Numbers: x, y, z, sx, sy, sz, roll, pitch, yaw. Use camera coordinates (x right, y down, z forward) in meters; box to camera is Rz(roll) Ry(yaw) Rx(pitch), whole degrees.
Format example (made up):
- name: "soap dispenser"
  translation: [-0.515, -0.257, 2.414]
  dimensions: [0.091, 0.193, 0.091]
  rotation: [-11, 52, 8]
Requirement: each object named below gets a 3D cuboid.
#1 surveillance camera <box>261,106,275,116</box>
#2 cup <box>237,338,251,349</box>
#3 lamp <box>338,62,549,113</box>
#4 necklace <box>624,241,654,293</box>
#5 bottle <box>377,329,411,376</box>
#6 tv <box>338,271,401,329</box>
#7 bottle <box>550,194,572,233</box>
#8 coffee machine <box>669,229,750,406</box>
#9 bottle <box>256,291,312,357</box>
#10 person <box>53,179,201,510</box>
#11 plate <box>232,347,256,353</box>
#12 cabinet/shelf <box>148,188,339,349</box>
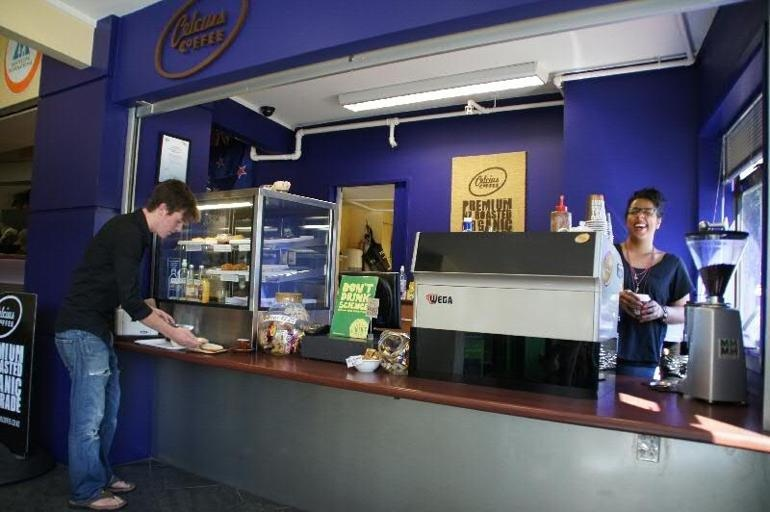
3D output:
- name: "surveillance camera"
  translation: [-1.472, -1.797, 6.846]
  dimensions: [0.112, 0.046, 0.112]
  rotation: [-8, -18, 12]
- name: "cup"
  translation: [-1.020, 0.626, 3.895]
  dimensions: [0.090, 0.060, 0.064]
  rotation: [4, -4, 5]
- name: "lamp"
  translation: [0.578, -1.758, 5.756]
  dimensions: [2.121, 0.173, 0.421]
  rotation: [0, -5, 28]
- name: "necklace"
  translation: [1.926, 0.109, 4.119]
  dimensions: [0.214, 0.299, 0.072]
  rotation: [7, -3, 16]
- name: "bottle"
  translation: [0.069, 0.596, 3.381]
  dimensions: [0.218, 0.256, 0.174]
  rotation: [1, -5, 13]
- name: "tv"
  translation: [-0.156, 0.328, 3.735]
  dimensions: [0.511, 0.432, 0.156]
  rotation: [4, -1, -38]
- name: "bottle"
  translation: [1.065, -0.214, 3.261]
  dimensions: [0.120, 0.275, 0.126]
  rotation: [2, 1, 0]
- name: "coffee machine"
  translation: [1.793, 0.314, 2.930]
  dimensions: [0.303, 0.936, 0.244]
  rotation: [0, -6, 28]
- name: "bottle"
  translation: [-0.663, 0.489, 3.944]
  dimensions: [0.389, 0.435, 0.402]
  rotation: [4, -12, -5]
- name: "person"
  translation: [-1.913, 0.624, 3.978]
  dimensions: [0.884, 2.383, 0.486]
  rotation: [1, -5, 17]
- name: "plate"
  translation: [-1.005, 0.665, 3.870]
  dimensions: [0.158, 0.029, 0.097]
  rotation: [3, -4, -15]
- name: "cabinet/shelf"
  translation: [-1.254, 0.101, 4.832]
  dimensions: [1.300, 1.179, 1.034]
  rotation: [0, -4, 25]
